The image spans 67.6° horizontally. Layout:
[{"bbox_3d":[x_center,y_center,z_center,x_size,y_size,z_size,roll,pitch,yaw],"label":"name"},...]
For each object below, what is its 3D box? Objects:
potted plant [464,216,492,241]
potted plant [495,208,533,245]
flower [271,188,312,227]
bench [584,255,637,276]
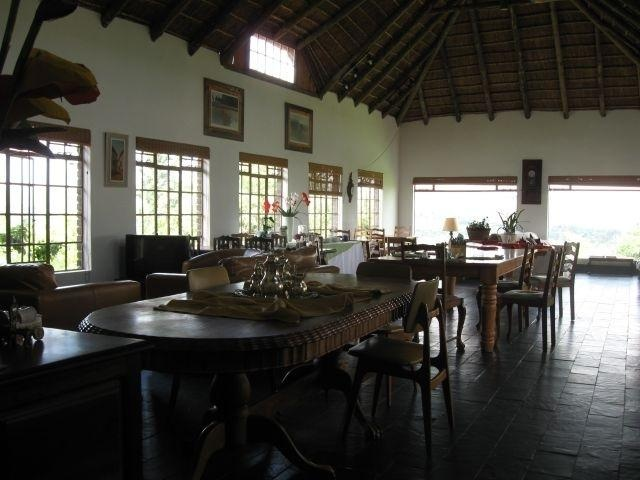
[{"bbox_3d":[2.163,-0.158,6.520,0.315,0.332,0.311,-1,-3,13],"label":"potted plant"},{"bbox_3d":[3.968,-0.311,9.640,0.781,0.850,0.816,1,-1,21],"label":"potted plant"},{"bbox_3d":[-0.523,-0.675,9.340,0.604,0.460,0.625,4,5,38],"label":"flower"},{"bbox_3d":[6.838,0.603,11.159,0.981,0.402,0.457,3,4,38],"label":"bench"}]
